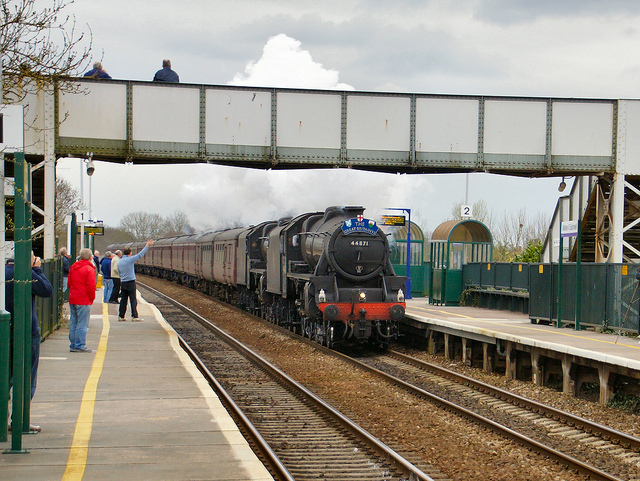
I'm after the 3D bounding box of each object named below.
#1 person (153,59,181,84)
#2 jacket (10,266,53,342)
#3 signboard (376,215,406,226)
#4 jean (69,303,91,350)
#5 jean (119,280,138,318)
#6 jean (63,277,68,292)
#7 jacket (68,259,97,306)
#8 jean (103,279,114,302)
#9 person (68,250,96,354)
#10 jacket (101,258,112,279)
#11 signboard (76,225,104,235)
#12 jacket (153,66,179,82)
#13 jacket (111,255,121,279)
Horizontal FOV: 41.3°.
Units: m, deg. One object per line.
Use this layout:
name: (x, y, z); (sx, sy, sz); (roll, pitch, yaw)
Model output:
person: (-4.049, -4.465, 22.349); (0.636, 0.711, 1.374); (0, 2, -11)
jacket: (-4.454, 0.976, 13.218); (0.453, 1.129, 1.030); (0, 2, -2)
signboard: (2.367, -0.675, 28.064); (0.899, 0.336, 0.350); (0, 2, -6)
jean: (-5.034, 1.789, 17.735); (0.373, 0.995, 0.652); (0, 3, -18)
jean: (-5.222, 1.556, 23.032); (0.470, 1.049, 0.328); (-2, 1, 11)
jean: (-8.047, 1.375, 26.801); (0.083, 0.483, 0.740); (0, 2, -15)
jacket: (-4.883, 0.848, 17.488); (0.704, 0.920, 0.317); (1, 3, 21)
jean: (-7.114, 1.659, 28.540); (0.289, 0.778, 0.652); (0, 2, -14)
person: (-4.954, 1.256, 17.566); (0.477, 2.170, 0.928); (-1, 3, -25)
jacket: (-7.084, 0.911, 28.137); (0.349, 0.738, 0.630); (-10, 25, -22)
signboard: (-9.558, -0.462, 35.772); (1.078, 0.313, 1.056); (2, -4, -10)
jacket: (-4.125, -4.424, 22.602); (0.653, 0.505, 0.569); (2, 3, 38)
jacket: (-6.289, 0.809, 26.121); (0.402, 0.745, 0.591); (-3, 10, -18)
